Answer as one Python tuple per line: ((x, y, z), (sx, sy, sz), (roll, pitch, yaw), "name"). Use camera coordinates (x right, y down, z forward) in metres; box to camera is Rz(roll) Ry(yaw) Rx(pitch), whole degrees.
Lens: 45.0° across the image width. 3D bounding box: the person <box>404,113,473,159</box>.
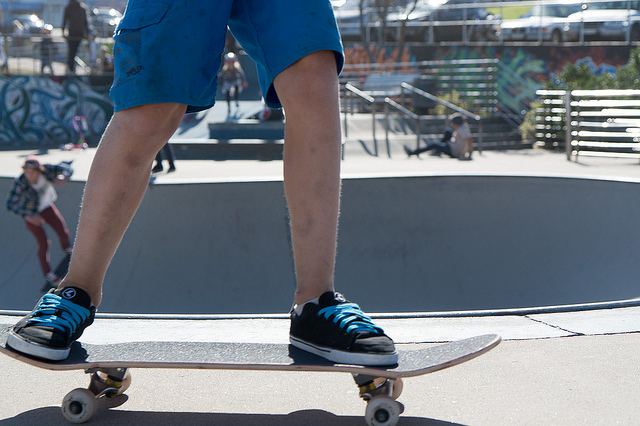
((2.009, -1.273, 13.159), (1.100, 0.813, 0.407), (3, 1, 15), "person")
